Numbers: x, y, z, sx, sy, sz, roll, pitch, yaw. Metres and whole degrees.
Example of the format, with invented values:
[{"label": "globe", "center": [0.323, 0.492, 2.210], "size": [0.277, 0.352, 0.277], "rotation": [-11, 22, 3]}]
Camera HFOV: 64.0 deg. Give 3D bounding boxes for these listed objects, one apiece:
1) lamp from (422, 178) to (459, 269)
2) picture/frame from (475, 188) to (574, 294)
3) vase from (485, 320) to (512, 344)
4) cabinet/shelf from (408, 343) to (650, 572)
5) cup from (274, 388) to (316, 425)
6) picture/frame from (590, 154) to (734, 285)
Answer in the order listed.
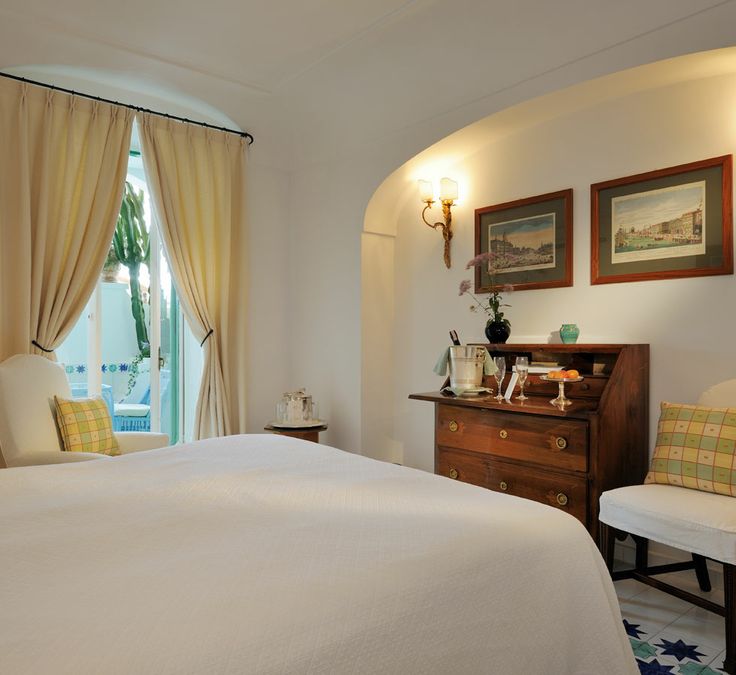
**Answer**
[{"label": "lamp", "center": [0.475, -0.745, 3.954], "size": [0.169, 0.586, 0.368], "rotation": [-1, 5, -12]}, {"label": "picture/frame", "center": [0.933, -0.556, 3.458], "size": [0.046, 0.596, 0.589], "rotation": [-1, 0, -41]}, {"label": "vase", "center": [0.744, -0.036, 3.399], "size": [0.116, 0.157, 0.129], "rotation": [1, 4, 5]}, {"label": "cabinet/shelf", "center": [0.813, 0.560, 3.091], "size": [0.904, 1.292, 0.620], "rotation": [4, 22, 41]}, {"label": "cup", "center": [-0.525, 0.496, 4.248], "size": [0.183, 0.295, 0.277], "rotation": [-1, -5, 6]}, {"label": "picture/frame", "center": [1.461, -0.571, 2.886], "size": [0.028, 0.650, 0.591], "rotation": [5, -8, -42]}]
